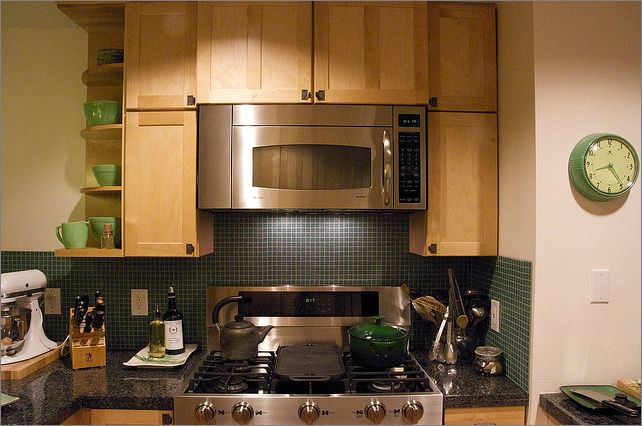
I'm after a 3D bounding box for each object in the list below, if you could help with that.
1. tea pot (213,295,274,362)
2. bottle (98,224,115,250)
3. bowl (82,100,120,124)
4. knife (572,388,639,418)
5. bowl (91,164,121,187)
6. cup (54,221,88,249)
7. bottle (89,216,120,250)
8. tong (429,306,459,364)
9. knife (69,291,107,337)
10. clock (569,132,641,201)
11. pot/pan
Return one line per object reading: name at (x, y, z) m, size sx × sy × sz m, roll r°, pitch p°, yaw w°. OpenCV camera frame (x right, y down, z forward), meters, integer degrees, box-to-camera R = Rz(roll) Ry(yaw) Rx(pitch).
tea pot at (-0.448, 0.678, 3.128) m, size 0.406 × 0.406 × 0.262 m, roll 0°, pitch -4°, yaw -10°
bottle at (-1.245, 0.136, 3.084) m, size 0.084 × 0.151 × 0.096 m, roll -4°, pitch 4°, yaw -36°
bowl at (-1.301, -0.602, 3.179) m, size 0.216 × 0.168 × 0.141 m, roll -1°, pitch 3°, yaw 9°
knife at (1.411, 0.913, 2.594) m, size 0.087 × 0.032 × 0.321 m, roll -1°, pitch 1°, yaw -15°
bowl at (-1.265, -0.209, 3.112) m, size 0.139 × 0.084 × 0.138 m, roll 0°, pitch -1°, yaw 0°
cup at (-1.489, 0.132, 3.138) m, size 0.223 × 0.155 × 0.126 m, roll 2°, pitch 4°, yaw 39°
bottle at (-1.271, 0.116, 3.104) m, size 0.182 × 0.138 × 0.182 m, roll 0°, pitch -1°, yaw 0°
tong at (0.715, 0.725, 3.123) m, size 0.149 × 0.306 × 0.182 m, roll 25°, pitch 20°, yaw 32°
knife at (-1.338, 0.582, 3.037) m, size 0.224 × 0.280 × 0.205 m, roll 2°, pitch -3°, yaw -9°
clock at (1.459, -0.234, 2.742) m, size 0.346 × 0.346 × 0.104 m, roll -1°, pitch -4°, yaw -7°
pot/pan at (0.305, 0.734, 3.024) m, size 0.248 × 0.188 × 0.285 m, roll 0°, pitch 0°, yaw -14°
